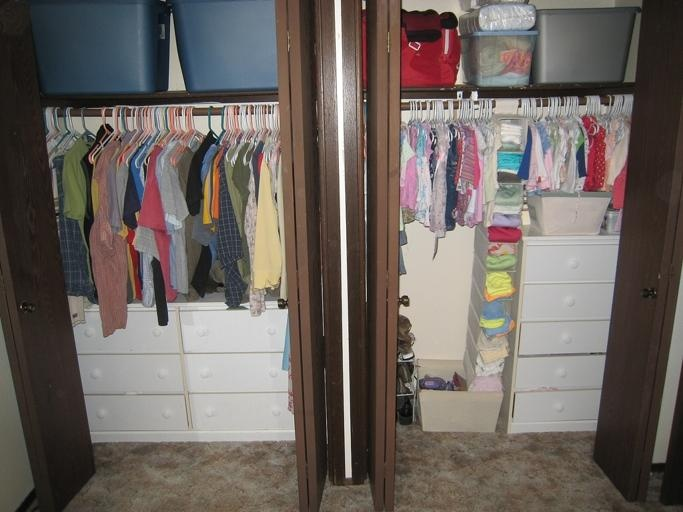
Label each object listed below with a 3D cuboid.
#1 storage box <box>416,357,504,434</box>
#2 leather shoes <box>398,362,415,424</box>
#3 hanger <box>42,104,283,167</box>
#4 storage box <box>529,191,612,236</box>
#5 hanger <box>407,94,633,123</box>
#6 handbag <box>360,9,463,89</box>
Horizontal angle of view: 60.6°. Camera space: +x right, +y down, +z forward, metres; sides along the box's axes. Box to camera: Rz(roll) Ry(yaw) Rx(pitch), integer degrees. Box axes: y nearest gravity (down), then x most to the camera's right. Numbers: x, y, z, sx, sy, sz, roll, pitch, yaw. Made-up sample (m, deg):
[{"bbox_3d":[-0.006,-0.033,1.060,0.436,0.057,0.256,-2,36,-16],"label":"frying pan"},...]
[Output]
[{"bbox_3d":[0.760,0.902,3.813,0.523,0.286,0.445,0,17,5],"label":"storage box"},{"bbox_3d":[0.416,0.870,3.745,0.114,0.382,0.149,0,15,8],"label":"leather shoes"},{"bbox_3d":[-1.038,-0.731,3.393,1.391,0.294,0.400,-1,16,3],"label":"hanger"},{"bbox_3d":[1.340,-0.262,3.462,0.461,0.257,0.232,4,17,19],"label":"storage box"},{"bbox_3d":[1.015,-0.897,3.502,1.340,0.166,0.332,-3,17,-2],"label":"hanger"},{"bbox_3d":[0.401,-1.247,3.573,0.544,0.626,0.436,-1,24,-1],"label":"handbag"}]
